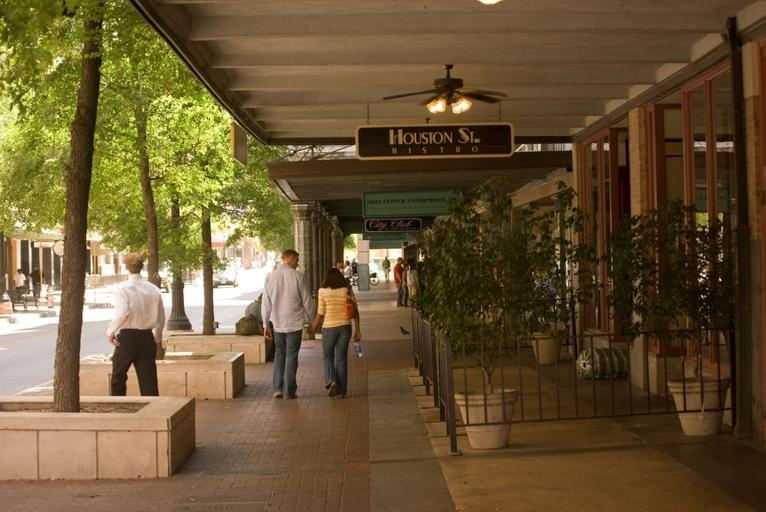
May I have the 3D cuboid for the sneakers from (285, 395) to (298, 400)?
[{"bbox_3d":[-1.463,2.306,13.479,0.159,0.068,0.271,-4,-5,26],"label":"sneakers"}]

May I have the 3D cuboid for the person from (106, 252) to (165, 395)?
[{"bbox_3d":[-3.515,0.964,11.711,0.770,2.050,0.670,0,-4,-20],"label":"person"}]

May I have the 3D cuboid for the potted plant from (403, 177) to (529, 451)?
[{"bbox_3d":[1.257,0.791,11.771,1.572,3.566,2.651,-2,-4,2],"label":"potted plant"}]

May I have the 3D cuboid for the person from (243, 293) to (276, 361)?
[{"bbox_3d":[-2.491,1.502,16.593,0.790,1.482,1.438,0,3,-3],"label":"person"}]

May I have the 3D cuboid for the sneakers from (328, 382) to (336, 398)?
[{"bbox_3d":[-0.819,2.193,13.448,0.113,0.222,0.090,-2,26,-11],"label":"sneakers"}]

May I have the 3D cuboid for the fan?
[{"bbox_3d":[0.980,-2.456,12.025,1.608,0.722,1.799,-4,13,-16],"label":"fan"}]

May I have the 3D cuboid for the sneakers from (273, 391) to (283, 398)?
[{"bbox_3d":[-1.721,2.281,13.510,0.148,0.114,0.147,-1,-5,-7],"label":"sneakers"}]

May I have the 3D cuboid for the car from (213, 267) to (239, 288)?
[{"bbox_3d":[-8.908,1.328,46.530,1.323,1.086,3.031,-1,-7,-4],"label":"car"}]

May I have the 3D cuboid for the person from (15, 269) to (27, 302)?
[{"bbox_3d":[-16.680,1.366,37.834,0.412,1.478,1.193,0,-5,-24],"label":"person"}]

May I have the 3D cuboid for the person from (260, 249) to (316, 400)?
[{"bbox_3d":[-1.609,1.107,13.842,0.831,2.440,0.625,0,-5,9],"label":"person"}]

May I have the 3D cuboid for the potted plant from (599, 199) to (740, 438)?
[{"bbox_3d":[4.167,0.848,11.861,1.720,3.123,2.248,-3,-5,15],"label":"potted plant"}]
